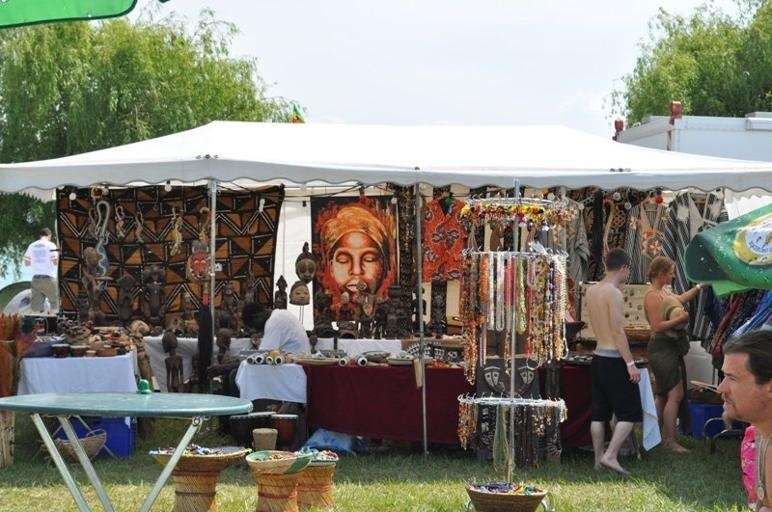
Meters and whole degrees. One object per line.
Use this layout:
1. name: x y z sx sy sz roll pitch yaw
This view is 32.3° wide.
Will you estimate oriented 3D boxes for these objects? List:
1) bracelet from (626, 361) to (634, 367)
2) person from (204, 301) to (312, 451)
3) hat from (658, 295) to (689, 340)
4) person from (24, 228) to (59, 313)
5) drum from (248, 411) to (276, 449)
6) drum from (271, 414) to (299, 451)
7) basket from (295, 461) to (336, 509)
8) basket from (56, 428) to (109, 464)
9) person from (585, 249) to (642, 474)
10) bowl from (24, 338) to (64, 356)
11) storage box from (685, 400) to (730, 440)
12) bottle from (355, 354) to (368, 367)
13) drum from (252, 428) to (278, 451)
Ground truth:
1. bracelet: 2.975 1.306 16.055 0.126 0.083 0.079 0 -1 -25
2. person: -1.523 1.582 17.194 1.377 2.074 0.784 -3 -13 -4
3. hat: 3.665 0.759 16.760 0.396 0.534 0.229 0 -1 -26
4. person: -5.141 0.198 19.878 0.466 1.268 1.214 0 -1 -16
5. drum: -1.475 2.108 16.137 0.362 0.491 0.376 0 -7 0
6. drum: -1.240 2.236 16.415 0.367 0.589 0.391 -2 -1 0
7. basket: -0.708 2.603 15.221 0.469 0.512 0.482 -3 -5 36
8. basket: -3.678 2.306 16.174 0.404 0.394 0.513 1 -10 -3
9. person: 2.777 1.273 16.141 0.652 2.710 0.481 0 -1 11
10. bowl: -4.242 1.146 16.631 0.172 0.229 0.553 -1 -1 34
11. storage box: 4.238 2.127 17.471 0.615 0.511 0.646 0 -3 -2
12. bottle: -0.298 1.316 16.722 0.118 0.127 0.124 -4 6 -42
13. drum: -1.440 2.206 15.977 0.248 0.205 0.250 -4 -8 29
